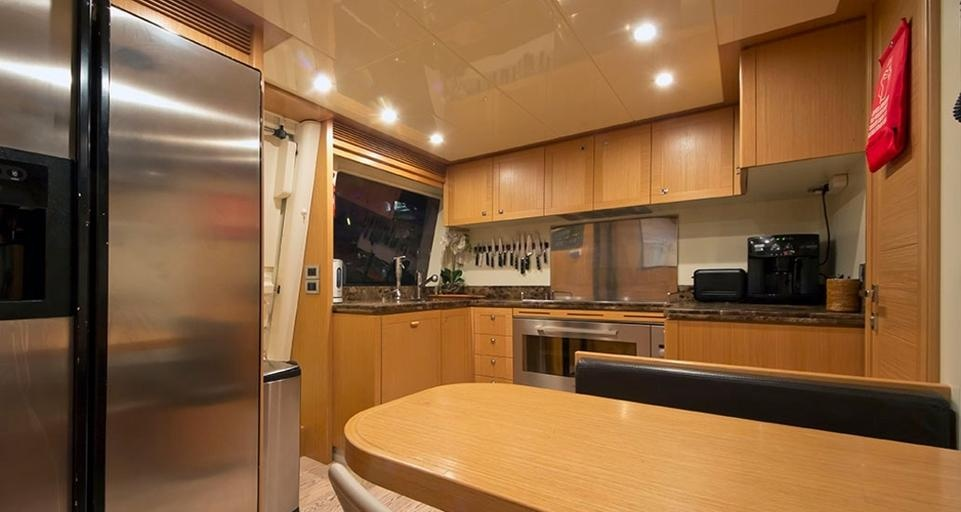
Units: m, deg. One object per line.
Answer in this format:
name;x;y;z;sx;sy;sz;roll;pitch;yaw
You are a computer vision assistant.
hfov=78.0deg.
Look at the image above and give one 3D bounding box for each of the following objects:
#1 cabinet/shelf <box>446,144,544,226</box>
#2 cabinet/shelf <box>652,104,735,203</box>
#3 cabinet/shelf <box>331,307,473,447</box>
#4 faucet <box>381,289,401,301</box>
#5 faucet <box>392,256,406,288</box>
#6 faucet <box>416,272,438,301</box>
cabinet/shelf;0.038;-0.716;6.110;1.356;0.688;0.384;-13;19;-39
cabinet/shelf;1.823;-0.888;5.009;0.841;0.780;0.289;0;1;31
cabinet/shelf;-0.634;0.839;4.256;0.468;0.963;1.223;-3;-2;30
faucet;-0.894;0.381;5.923;0.092;0.110;0.228;2;-9;-18
faucet;-0.831;0.148;6.049;0.126;0.343;0.321;1;-5;-4
faucet;-0.602;0.311;6.350;0.246;0.315;0.348;-3;-5;37
